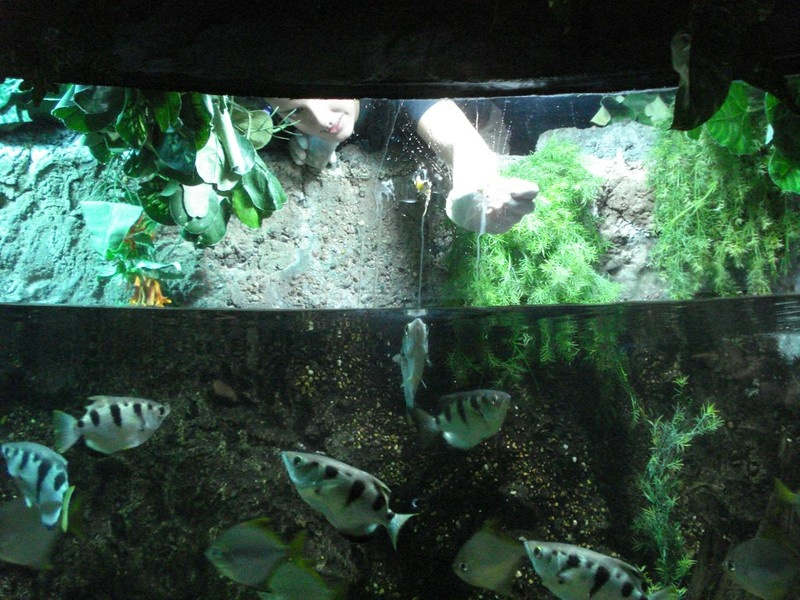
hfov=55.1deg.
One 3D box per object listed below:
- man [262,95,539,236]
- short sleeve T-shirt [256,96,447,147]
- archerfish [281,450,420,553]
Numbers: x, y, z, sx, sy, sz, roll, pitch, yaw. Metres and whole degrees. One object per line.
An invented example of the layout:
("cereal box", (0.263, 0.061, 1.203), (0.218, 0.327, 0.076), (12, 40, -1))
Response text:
("man", (-0.163, -0.837, 4.139), (1.874, 0.508, 0.578), (22, 35, 35))
("short sleeve T-shirt", (-0.213, -0.915, 3.904), (0.679, 0.144, 0.289), (3, -13, 45))
("archerfish", (-0.346, 1.027, 4.245), (0.656, 0.358, 0.093), (43, -4, 6))
